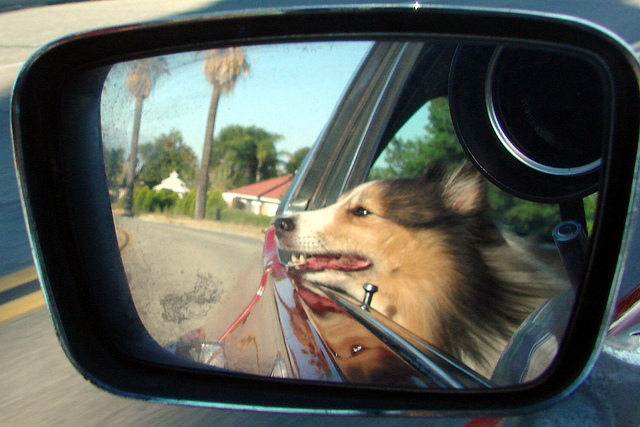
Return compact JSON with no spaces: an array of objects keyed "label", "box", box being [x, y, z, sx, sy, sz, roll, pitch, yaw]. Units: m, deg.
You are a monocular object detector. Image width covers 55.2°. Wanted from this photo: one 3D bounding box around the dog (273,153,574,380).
[{"label":"dog","box":[0.695,0.239,2.820,1.736,0.907,0.687,5,4,-21]}]
